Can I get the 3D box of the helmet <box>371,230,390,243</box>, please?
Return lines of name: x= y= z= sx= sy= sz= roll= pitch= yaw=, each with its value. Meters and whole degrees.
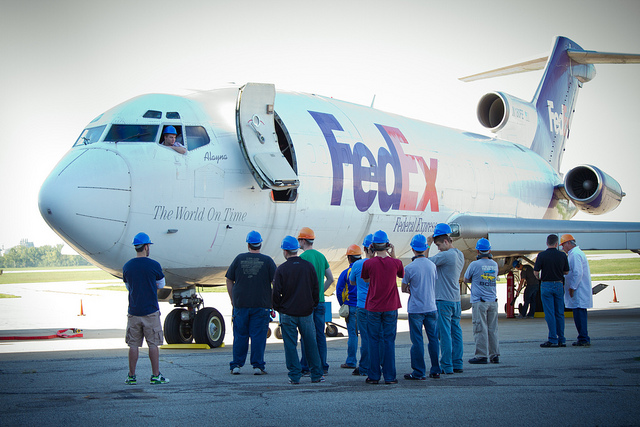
helmet: x=1.164 y=0.460 z=12.714 sx=0.268 sy=0.247 sz=0.314 roll=-2 pitch=-9 yaw=9

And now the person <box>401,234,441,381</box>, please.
person: x=1.979 y=1.830 z=12.894 sx=0.808 sy=2.796 sz=0.469 roll=8 pitch=-13 yaw=-44

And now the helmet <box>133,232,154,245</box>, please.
helmet: x=-3.351 y=0.464 z=12.520 sx=0.252 sy=0.174 sz=0.341 roll=2 pitch=7 yaw=34

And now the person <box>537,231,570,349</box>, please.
person: x=5.795 y=1.917 z=16.307 sx=0.758 sy=2.751 sz=0.328 roll=-2 pitch=-10 yaw=8

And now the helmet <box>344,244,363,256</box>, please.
helmet: x=0.694 y=0.788 z=14.251 sx=0.238 sy=0.154 sz=0.290 roll=2 pitch=5 yaw=-42

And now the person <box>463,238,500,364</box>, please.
person: x=3.567 y=1.907 z=14.399 sx=0.677 sy=2.697 sz=0.450 roll=-3 pitch=-10 yaw=13

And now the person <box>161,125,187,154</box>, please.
person: x=-3.377 y=-1.678 z=15.117 sx=0.732 sy=0.370 sz=0.413 roll=32 pitch=19 yaw=33

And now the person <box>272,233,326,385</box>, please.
person: x=-0.398 y=1.853 z=12.782 sx=1.001 sy=2.806 sz=0.851 roll=0 pitch=-9 yaw=-1

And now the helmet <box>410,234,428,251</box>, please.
helmet: x=1.966 y=0.586 z=12.987 sx=0.289 sy=0.324 sz=0.259 roll=-2 pitch=-9 yaw=9

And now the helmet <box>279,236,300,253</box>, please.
helmet: x=-0.579 y=0.613 z=12.794 sx=0.295 sy=0.316 sz=0.245 roll=-1 pitch=-9 yaw=-1

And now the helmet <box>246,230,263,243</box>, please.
helmet: x=-1.331 y=0.492 z=13.307 sx=0.255 sy=0.299 sz=0.425 roll=0 pitch=-9 yaw=-7

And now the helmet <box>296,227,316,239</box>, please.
helmet: x=-0.315 y=0.410 z=13.581 sx=0.315 sy=0.167 sz=0.255 roll=8 pitch=5 yaw=38

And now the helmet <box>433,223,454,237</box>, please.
helmet: x=2.522 y=0.344 z=13.550 sx=0.330 sy=0.247 sz=0.214 roll=0 pitch=-9 yaw=-6

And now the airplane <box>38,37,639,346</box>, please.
airplane: x=0.238 y=-0.808 z=18.863 sx=13.191 sy=4.574 sz=13.516 roll=1 pitch=-1 yaw=44
